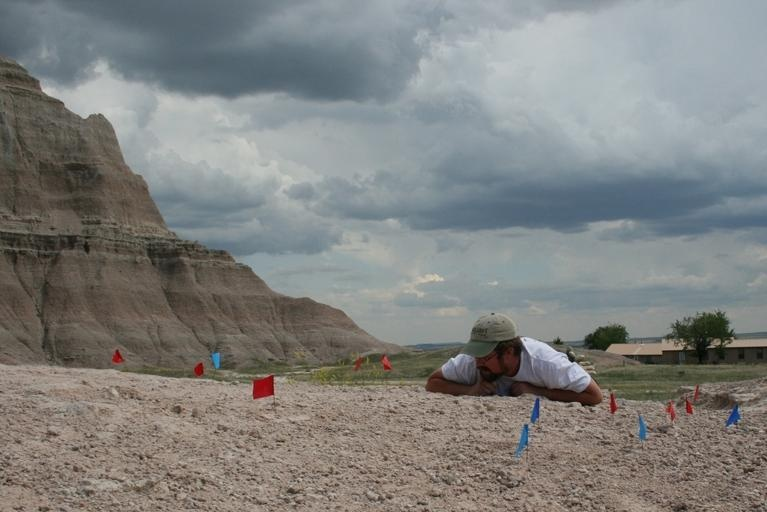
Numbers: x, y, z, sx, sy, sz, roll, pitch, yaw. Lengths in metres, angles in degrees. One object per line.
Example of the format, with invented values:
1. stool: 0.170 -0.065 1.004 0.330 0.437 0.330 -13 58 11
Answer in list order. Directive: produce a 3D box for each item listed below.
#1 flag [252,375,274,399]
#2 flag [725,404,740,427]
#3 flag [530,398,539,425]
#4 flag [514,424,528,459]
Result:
1. flag: -3.527 3.916 27.319 0.648 0.701 0.788 -1 -4 -10
2. flag: 10.349 4.724 27.281 0.365 0.607 0.747 -3 -5 20
3. flag: 4.368 4.448 26.504 0.282 0.785 1.133 -2 -4 9
4. flag: 3.930 5.234 26.081 0.436 0.931 0.953 -2 -4 8
